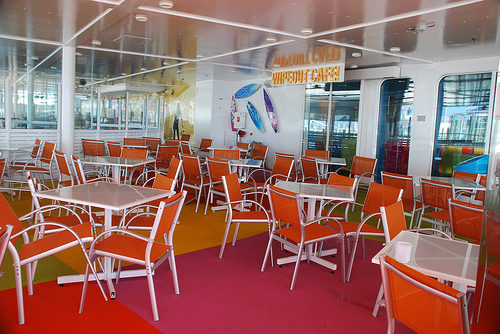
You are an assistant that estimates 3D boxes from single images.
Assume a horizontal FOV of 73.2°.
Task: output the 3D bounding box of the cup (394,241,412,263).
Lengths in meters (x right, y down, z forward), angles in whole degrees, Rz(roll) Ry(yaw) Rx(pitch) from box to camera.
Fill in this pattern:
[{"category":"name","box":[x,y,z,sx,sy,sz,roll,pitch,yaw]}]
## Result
[{"category":"cup","box":[1.237,0.686,2.742,0.154,0.158,0.192,1,0,4]}]
